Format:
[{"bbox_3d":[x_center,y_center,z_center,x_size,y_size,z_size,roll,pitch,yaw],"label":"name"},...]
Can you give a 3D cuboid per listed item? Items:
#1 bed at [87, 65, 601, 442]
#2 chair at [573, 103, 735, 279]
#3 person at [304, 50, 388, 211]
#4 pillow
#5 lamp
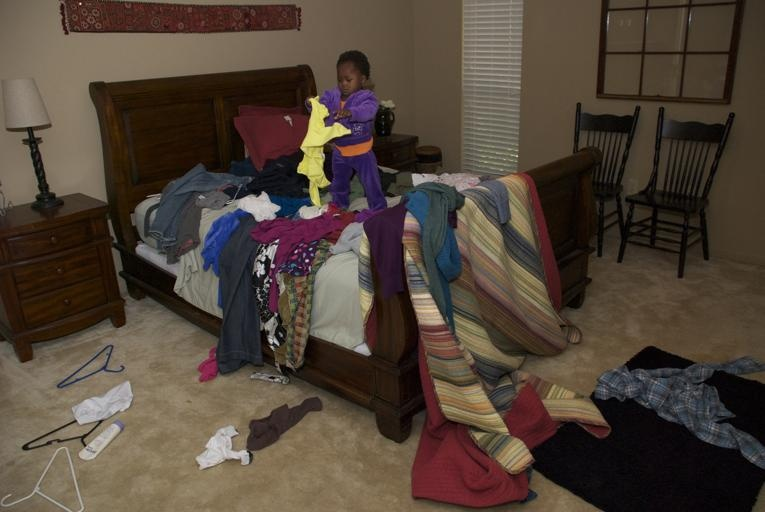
[{"bbox_3d":[-0.415,-0.560,4.261,3.532,2.241,2.881,20,36,32],"label":"bed"},{"bbox_3d":[2.542,-0.590,4.851,1.304,1.299,0.616,19,41,39],"label":"chair"},{"bbox_3d":[-0.230,-0.894,3.835,0.500,1.095,0.637,-11,24,-21],"label":"person"},{"bbox_3d":[-1.018,-1.059,4.909,0.650,0.171,0.627,-21,73,-19],"label":"pillow"},{"bbox_3d":[-2.691,-0.867,4.061,0.294,0.946,0.381,-16,26,-30],"label":"lamp"}]
